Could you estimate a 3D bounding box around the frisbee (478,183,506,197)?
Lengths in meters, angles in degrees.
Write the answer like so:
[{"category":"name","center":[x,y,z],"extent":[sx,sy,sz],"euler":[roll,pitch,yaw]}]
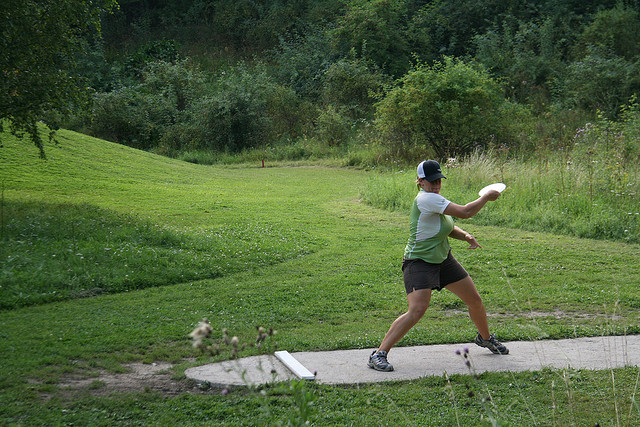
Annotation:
[{"category":"frisbee","center":[3.707,-0.502,15.257],"extent":[0.510,0.276,0.491],"euler":[1,3,8]}]
